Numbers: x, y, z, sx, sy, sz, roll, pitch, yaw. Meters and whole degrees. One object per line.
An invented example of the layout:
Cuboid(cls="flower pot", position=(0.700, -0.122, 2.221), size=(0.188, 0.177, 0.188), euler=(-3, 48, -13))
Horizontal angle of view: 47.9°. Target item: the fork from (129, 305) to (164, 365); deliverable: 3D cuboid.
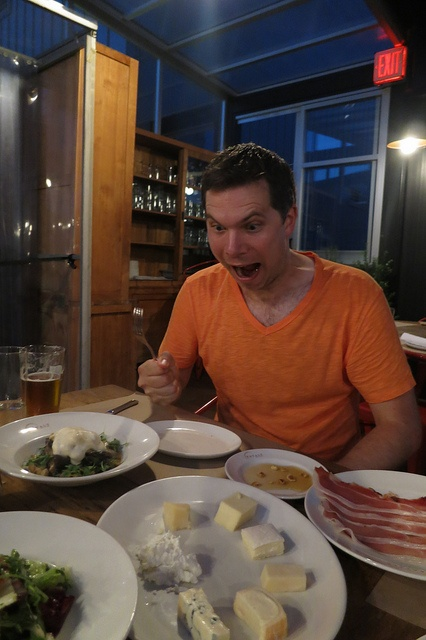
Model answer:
Cuboid(cls="fork", position=(-0.478, 0.082, 3.493), size=(0.095, 0.658, 0.094), euler=(10, 39, 26))

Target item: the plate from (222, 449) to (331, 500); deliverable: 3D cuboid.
Cuboid(cls="plate", position=(0.111, 0.305, 0.942), size=(0.159, 0.021, 0.161), euler=(-1, 12, 10))
